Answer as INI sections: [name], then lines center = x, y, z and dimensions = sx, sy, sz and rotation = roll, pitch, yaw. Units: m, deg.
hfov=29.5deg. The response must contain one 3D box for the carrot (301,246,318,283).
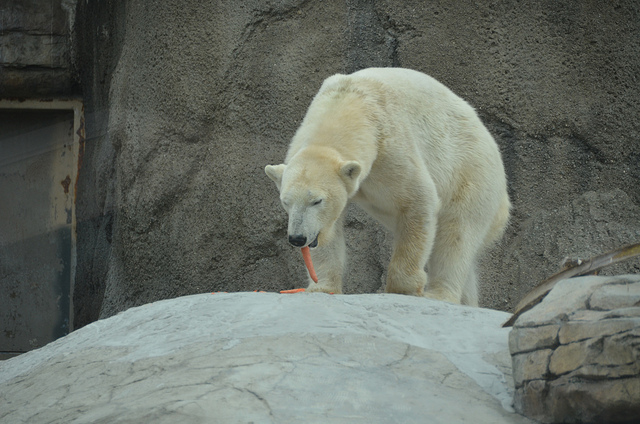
[carrot]
center = -0.096, 0.514, 11.817
dimensions = 0.092, 0.356, 0.108
rotation = -11, 17, 10

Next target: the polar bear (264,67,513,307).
[polar bear]
center = 0.662, -0.233, 12.505
dimensions = 1.547, 2.544, 2.997
rotation = 1, 0, 42
